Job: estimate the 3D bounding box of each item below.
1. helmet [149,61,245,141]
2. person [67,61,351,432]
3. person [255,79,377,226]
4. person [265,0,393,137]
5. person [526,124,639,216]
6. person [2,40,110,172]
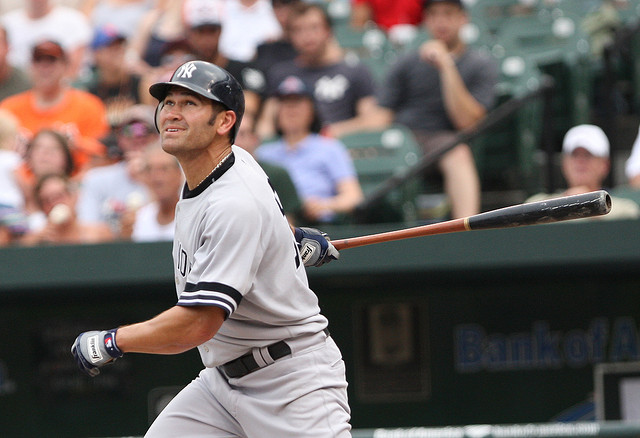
[{"bbox_3d":[-0.634,-0.721,7.376,0.510,0.253,0.381,26,-13,-40],"label":"helmet"},{"bbox_3d":[-0.542,0.169,7.243,1.173,2.031,0.531,-6,4,0],"label":"person"},{"bbox_3d":[0.032,-0.488,9.449,0.800,0.749,1.046,-12,4,-2],"label":"person"},{"bbox_3d":[0.093,-1.013,9.315,0.938,0.783,0.503,3,17,25],"label":"person"},{"bbox_3d":[1.721,-0.370,8.879,0.974,0.605,0.542,1,-24,12],"label":"person"},{"bbox_3d":[-1.801,-0.729,9.122,0.734,1.104,0.652,-4,-26,-9],"label":"person"}]
